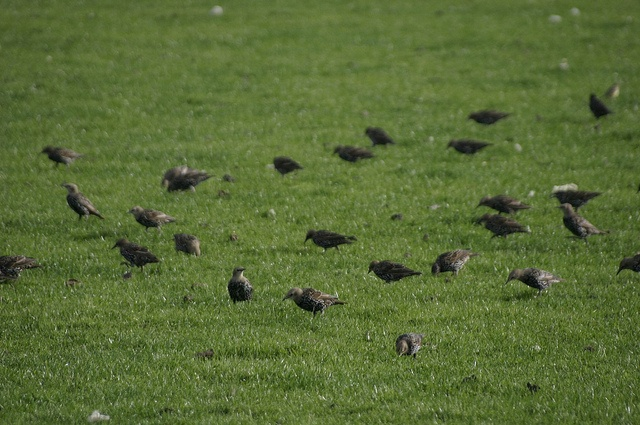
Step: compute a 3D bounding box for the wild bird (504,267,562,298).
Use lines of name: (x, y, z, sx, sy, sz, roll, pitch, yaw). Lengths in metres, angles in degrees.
wild bird: (13.462, 4.397, 91.431, 3.215, 1.487, 1.085, 1, 32, 10)

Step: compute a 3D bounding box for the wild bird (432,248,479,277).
wild bird: (8.452, 3.310, 92.690, 2.755, 1.400, 1.005, -14, 32, -14)
